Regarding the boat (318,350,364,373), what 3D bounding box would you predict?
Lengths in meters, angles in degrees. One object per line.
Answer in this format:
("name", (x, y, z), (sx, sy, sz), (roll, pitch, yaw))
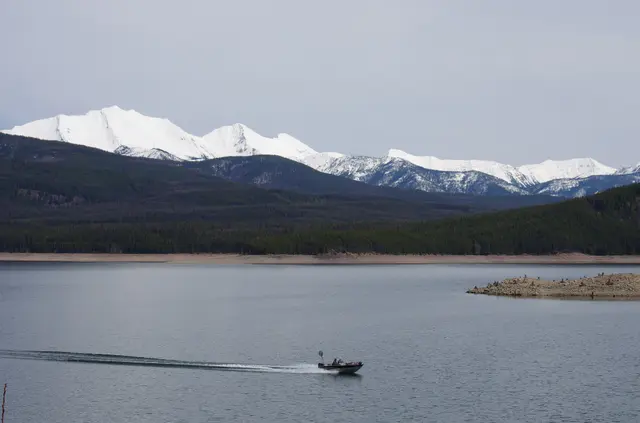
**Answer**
("boat", (3.497, 26.942, 180.145), (8.110, 3.265, 3.528), (0, -1, 3))
